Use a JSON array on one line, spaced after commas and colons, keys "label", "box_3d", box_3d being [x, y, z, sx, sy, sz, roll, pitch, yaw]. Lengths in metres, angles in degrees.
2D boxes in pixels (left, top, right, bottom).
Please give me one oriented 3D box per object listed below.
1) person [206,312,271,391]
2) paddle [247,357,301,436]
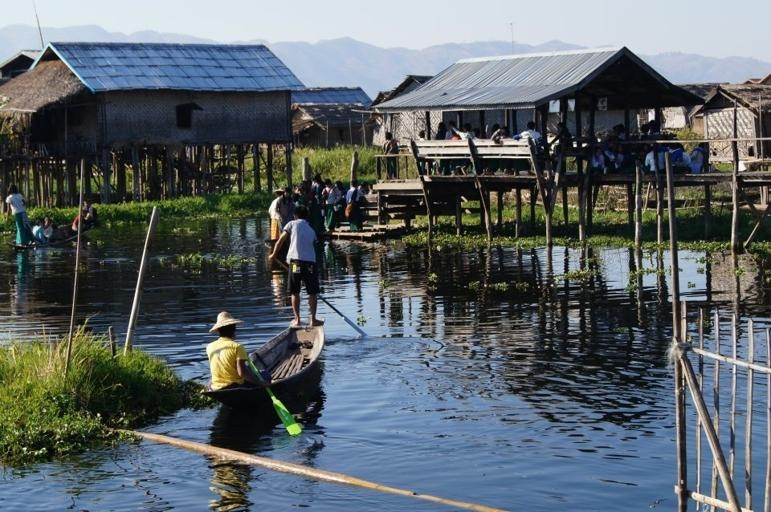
[{"label": "person", "box_3d": [-3.269, 2.112, 29.806, 1.155, 1.783, 1.574, 1, -2, -7]}, {"label": "paddle", "box_3d": [-2.445, 3.103, 29.539, 0.250, 0.161, 2.311, -23, 47, -16]}]
